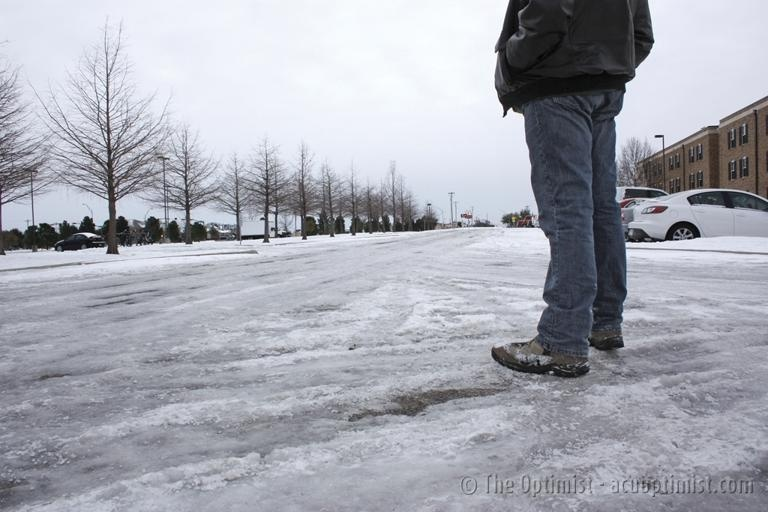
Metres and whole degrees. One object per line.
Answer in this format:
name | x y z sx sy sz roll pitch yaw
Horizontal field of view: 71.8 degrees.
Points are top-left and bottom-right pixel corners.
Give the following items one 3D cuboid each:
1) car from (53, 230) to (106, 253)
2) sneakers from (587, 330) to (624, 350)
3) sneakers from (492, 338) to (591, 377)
car | -18.563 -0.878 31.966 3.152 1.090 1.430 2 1 7
sneakers | 1.431 0.533 3.398 0.093 0.108 0.235 -4 2 2
sneakers | 0.909 0.554 3.113 0.516 0.212 0.218 8 -4 11
